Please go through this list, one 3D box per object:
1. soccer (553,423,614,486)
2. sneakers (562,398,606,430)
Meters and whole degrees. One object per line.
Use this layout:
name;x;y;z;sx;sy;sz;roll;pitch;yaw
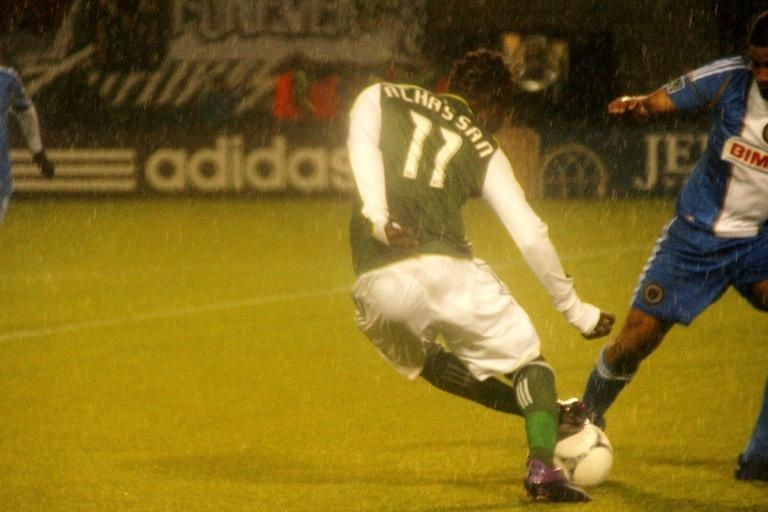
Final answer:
soccer;1.665;1.691;12.229;0.416;0.452;0.460;-5;49;12
sneakers;1.681;1.334;12.360;0.338;0.167;0.269;31;8;19
